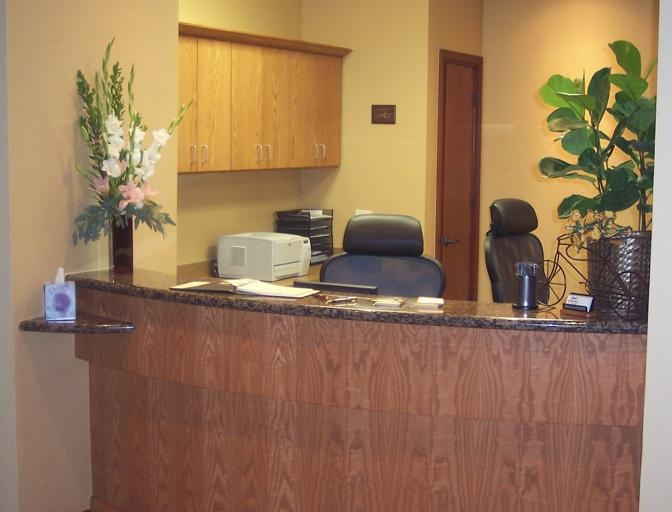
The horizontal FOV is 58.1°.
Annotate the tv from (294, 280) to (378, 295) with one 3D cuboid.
[{"bbox_3d":[0.056,0.139,2.756,0.372,0.055,0.091,3,0,24],"label":"tv"}]

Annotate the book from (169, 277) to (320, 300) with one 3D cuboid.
[{"bbox_3d":[-0.403,0.138,2.639,0.656,0.052,0.212,2,2,17],"label":"book"}]

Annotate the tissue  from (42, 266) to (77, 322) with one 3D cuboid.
[{"bbox_3d":[-1.296,0.181,2.845,0.136,0.250,0.216,0,3,-25],"label":"tissue "}]

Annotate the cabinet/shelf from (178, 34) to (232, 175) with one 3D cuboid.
[{"bbox_3d":[-0.975,-1.091,4.341,0.484,0.971,0.278,5,7,9],"label":"cabinet/shelf"}]

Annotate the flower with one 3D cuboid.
[{"bbox_3d":[-1.045,-0.580,3.021,0.482,1.046,0.462,-1,3,-38],"label":"flower"}]

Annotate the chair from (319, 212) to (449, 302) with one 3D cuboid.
[{"bbox_3d":[0.304,-0.051,3.678,0.479,0.681,0.558,3,4,7],"label":"chair"}]

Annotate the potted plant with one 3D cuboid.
[{"bbox_3d":[1.296,-0.417,2.952,0.443,1.237,1.598,2,3,27],"label":"potted plant"}]
